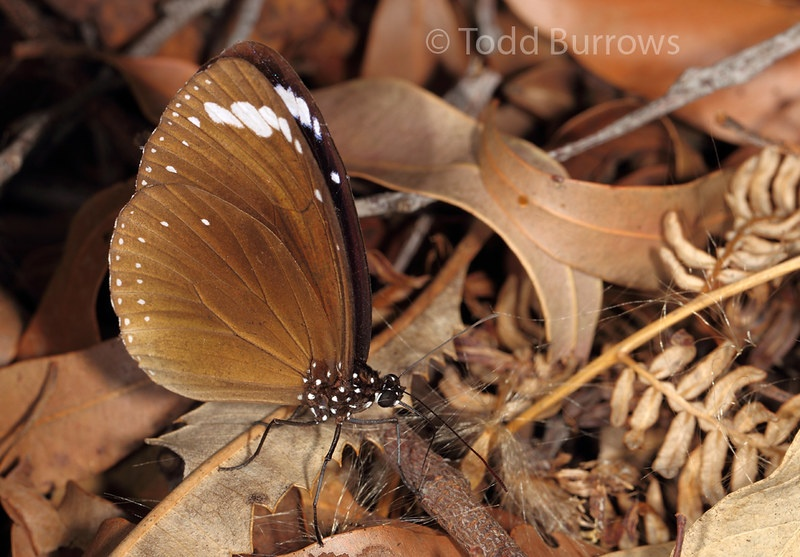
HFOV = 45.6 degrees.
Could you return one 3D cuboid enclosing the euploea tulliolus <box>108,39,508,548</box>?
[{"bbox_3d":[-0.556,0.152,3.839,1.084,1.999,0.871,-2,4,-7],"label":"euploea tulliolus"}]
